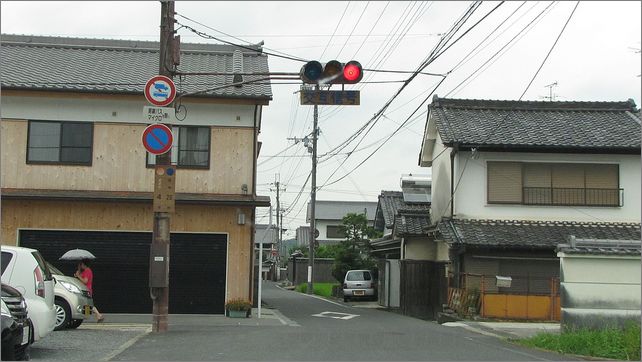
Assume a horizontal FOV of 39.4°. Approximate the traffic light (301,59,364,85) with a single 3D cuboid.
[{"bbox_3d":[0.367,-3.872,32.322,2.194,0.882,0.456,-2,-11,12],"label":"traffic light"}]
